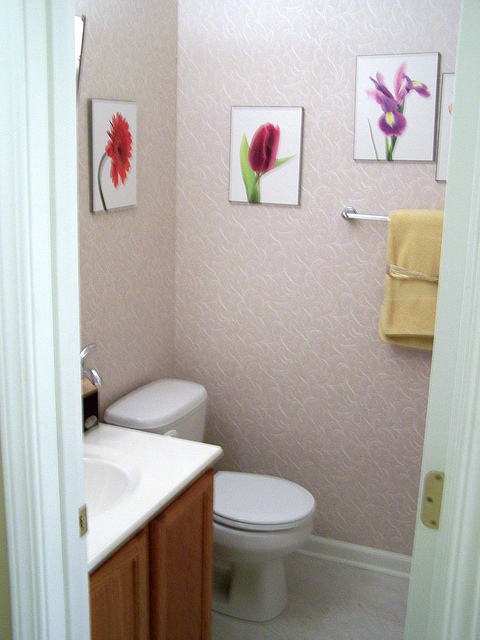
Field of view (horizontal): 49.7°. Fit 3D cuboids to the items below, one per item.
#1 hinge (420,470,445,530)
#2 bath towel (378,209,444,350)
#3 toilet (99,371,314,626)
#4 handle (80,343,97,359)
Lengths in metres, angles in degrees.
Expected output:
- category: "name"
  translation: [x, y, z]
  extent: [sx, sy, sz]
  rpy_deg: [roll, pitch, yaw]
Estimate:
- category: "hinge"
  translation: [0.244, 0.228, 0.663]
  extent: [0.026, 0.083, 0.013]
  rpy_deg: [4, 7, 28]
- category: "bath towel"
  translation: [0.615, -0.144, 1.891]
  extent: [0.195, 0.498, 0.102]
  rpy_deg: [3, 7, 21]
- category: "toilet"
  translation: [-0.057, 0.624, 2.192]
  extent: [0.720, 1.097, 0.636]
  rpy_deg: [5, 16, 19]
- category: "handle"
  translation: [-0.421, 0.082, 1.438]
  extent: [0.038, 0.033, 0.091]
  rpy_deg: [-1, 9, -16]
